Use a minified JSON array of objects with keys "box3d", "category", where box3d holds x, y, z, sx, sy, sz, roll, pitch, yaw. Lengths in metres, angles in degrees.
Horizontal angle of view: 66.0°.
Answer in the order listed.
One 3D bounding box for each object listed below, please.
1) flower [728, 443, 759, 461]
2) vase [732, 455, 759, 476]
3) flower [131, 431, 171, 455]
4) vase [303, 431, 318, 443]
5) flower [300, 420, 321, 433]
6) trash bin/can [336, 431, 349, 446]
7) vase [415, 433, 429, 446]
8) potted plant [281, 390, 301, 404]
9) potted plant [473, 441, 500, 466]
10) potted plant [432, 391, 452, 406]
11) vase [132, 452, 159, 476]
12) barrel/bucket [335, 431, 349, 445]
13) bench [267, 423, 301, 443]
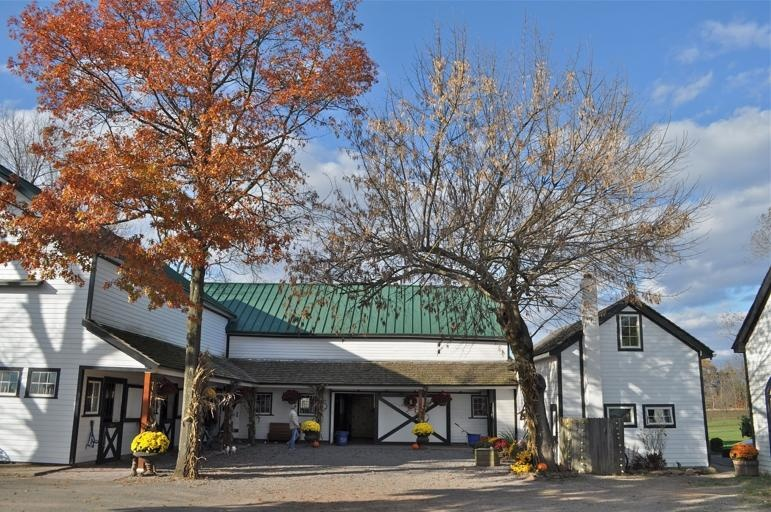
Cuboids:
[{"box3d":[14.236,7.782,23.613,0.762,0.521,0.742,-6,-13,16],"category":"flower"},{"box3d":[14.160,8.229,23.364,0.755,0.500,0.746,-8,-13,28],"category":"vase"},{"box3d":[-8.363,6.674,21.217,0.914,0.583,0.928,2,-8,12],"category":"flower"},{"box3d":[-3.995,9.931,32.544,0.639,0.717,0.660,-20,-26,27],"category":"vase"},{"box3d":[-4.120,9.234,32.175,0.964,0.558,0.666,2,-21,-11],"category":"flower"},{"box3d":[-2.344,10.104,32.858,0.721,0.666,0.702,-7,-17,28],"category":"trash bin/can"},{"box3d":[1.946,9.908,32.074,0.641,0.508,0.666,-6,-17,16],"category":"vase"},{"box3d":[-5.245,7.757,32.837,0.900,0.925,1.274,3,-21,-13],"category":"potted plant"},{"box3d":[4.276,8.464,25.354,0.798,0.714,0.834,0,-11,-1],"category":"potted plant"},{"box3d":[3.100,7.913,33.112,0.819,0.609,0.849,-2,-10,13],"category":"potted plant"},{"box3d":[-8.703,7.508,21.336,0.943,0.978,0.946,2,-15,-3],"category":"vase"},{"box3d":[-2.425,10.068,32.852,0.728,0.677,0.690,0,-14,0],"category":"barrel/bucket"},{"box3d":[-6.043,10.022,33.823,1.540,1.178,0.862,2,-12,-5],"category":"bench"}]
